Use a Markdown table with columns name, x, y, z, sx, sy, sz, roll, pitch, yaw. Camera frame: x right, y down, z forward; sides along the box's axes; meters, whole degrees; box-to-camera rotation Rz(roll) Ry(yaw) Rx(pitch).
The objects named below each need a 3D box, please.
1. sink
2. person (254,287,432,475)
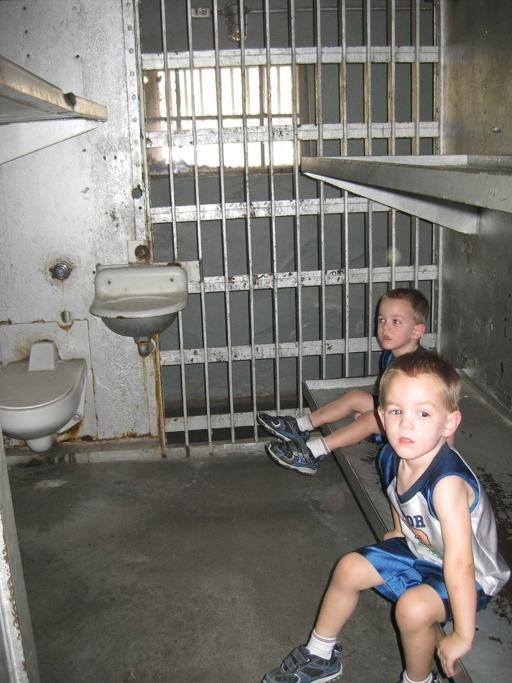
| name | x | y | z | sx | sy | sz | roll | pitch | yaw |
| --- | --- | --- | --- | --- | --- | --- | --- | --- | --- |
| sink | -0.650 | -0.108 | 3.006 | 0.525 | 0.230 | 0.443 | -3 | 13 | -6 |
| person | 0.415 | 0.152 | 2.371 | 0.764 | 0.784 | 0.419 | -2 | 19 | -13 |
